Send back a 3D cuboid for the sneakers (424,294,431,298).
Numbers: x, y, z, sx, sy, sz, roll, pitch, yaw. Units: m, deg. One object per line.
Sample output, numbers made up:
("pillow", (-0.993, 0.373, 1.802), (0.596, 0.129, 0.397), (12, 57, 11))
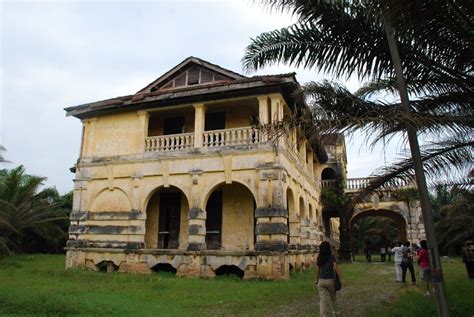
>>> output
("sneakers", (5.990, 4.320, 11.168), (0.073, 0.093, 0.219), (3, -10, -4))
